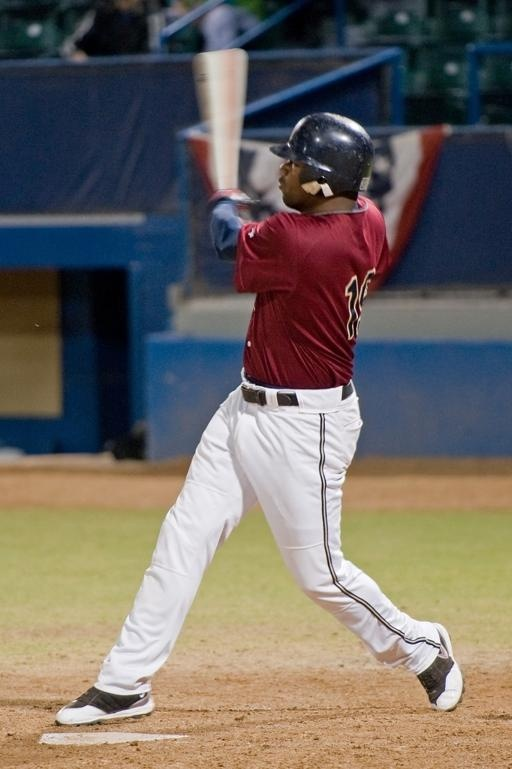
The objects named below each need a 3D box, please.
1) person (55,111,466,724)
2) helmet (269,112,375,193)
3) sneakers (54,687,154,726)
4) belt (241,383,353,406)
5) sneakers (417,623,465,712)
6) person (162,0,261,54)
[{"bbox_3d":[0.057,0.093,3.951,1.121,1.699,0.319,0,9,-6],"label":"person"},{"bbox_3d":[0.171,-0.637,3.943,0.281,0.197,0.212,12,10,12],"label":"helmet"},{"bbox_3d":[-0.423,0.895,3.950,0.290,0.101,0.106,1,-1,-19],"label":"sneakers"},{"bbox_3d":[0.118,0.027,3.916,0.319,0.056,0.119,0,7,-3],"label":"belt"},{"bbox_3d":[0.516,0.801,4.122,0.140,0.275,0.105,-8,-2,-22],"label":"sneakers"},{"bbox_3d":[-0.312,-2.472,9.653,0.479,0.425,1.235,2,7,6],"label":"person"}]
